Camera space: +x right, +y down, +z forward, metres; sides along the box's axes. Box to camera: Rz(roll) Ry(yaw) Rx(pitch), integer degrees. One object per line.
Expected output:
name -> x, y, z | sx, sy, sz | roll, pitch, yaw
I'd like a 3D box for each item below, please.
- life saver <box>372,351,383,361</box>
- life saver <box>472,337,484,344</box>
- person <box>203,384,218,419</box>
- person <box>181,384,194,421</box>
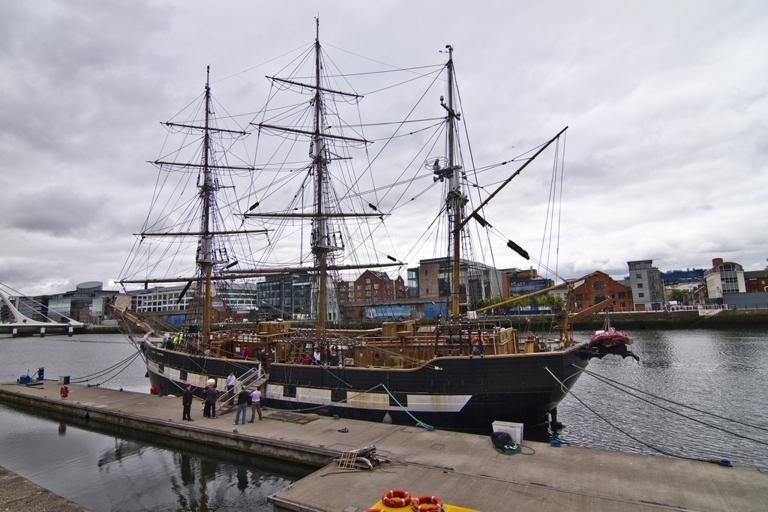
life saver -> -0.416, 6.698, 35.182 | 0.708, 0.518, 0.970 | -1, -8, 18
life saver -> 5.762, 5.300, 33.387 | 0.577, 0.307, 0.810 | -3, -10, 20
person -> -10.962, 9.184, 33.831 | 0.601, 2.080, 0.706 | 4, -10, -36
person -> -12.311, 9.355, 33.534 | 0.540, 1.859, 0.848 | 2, -8, -23
